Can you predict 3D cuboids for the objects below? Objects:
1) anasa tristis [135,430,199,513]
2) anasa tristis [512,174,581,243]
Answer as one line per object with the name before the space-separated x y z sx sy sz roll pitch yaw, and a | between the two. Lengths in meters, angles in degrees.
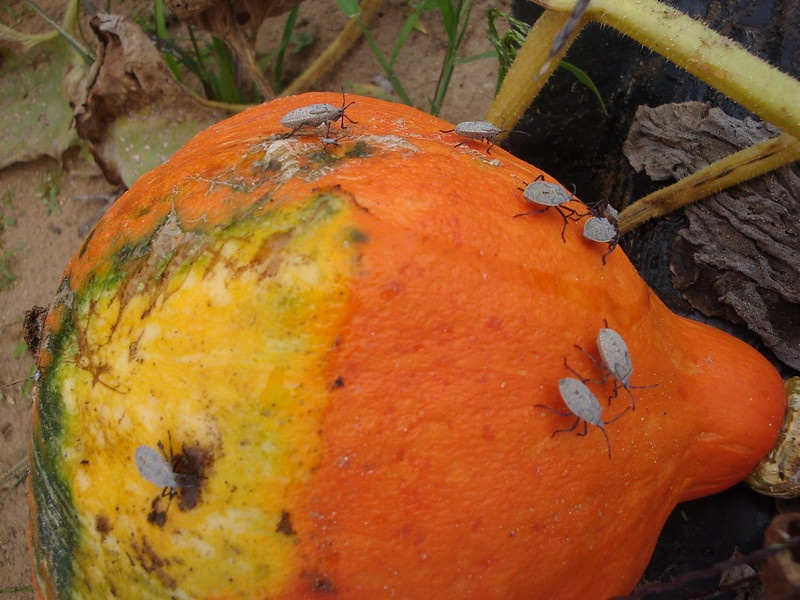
anasa tristis | -0.950 0.701 3.840 0.212 0.060 0.179 32 82 -9
anasa tristis | 0.643 -0.417 4.076 0.240 0.077 0.283 13 72 -20
